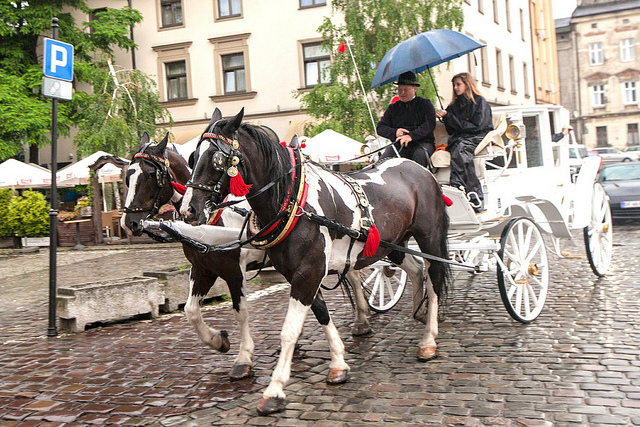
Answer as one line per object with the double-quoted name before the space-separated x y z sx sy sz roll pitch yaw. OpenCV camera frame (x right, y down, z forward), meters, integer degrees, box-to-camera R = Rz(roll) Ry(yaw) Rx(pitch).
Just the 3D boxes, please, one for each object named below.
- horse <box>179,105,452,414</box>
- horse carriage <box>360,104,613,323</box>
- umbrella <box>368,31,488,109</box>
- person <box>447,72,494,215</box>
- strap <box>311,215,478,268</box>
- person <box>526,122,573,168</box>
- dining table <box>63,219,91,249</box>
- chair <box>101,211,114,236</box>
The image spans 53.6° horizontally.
"horse" 0.192 0.356 7.939 1.491 3.426 3.485 7 17 41
"horse carriage" 3.432 -0.239 11.676 3.776 2.783 5.780 -3 -3 28
"umbrella" 1.720 -2.276 10.095 1.304 0.774 1.153 -23 8 -9
"person" 2.307 -1.100 9.765 0.711 2.102 1.098 -1 15 17
"strap" 0.961 0.352 8.370 2.554 0.208 0.120 19 -14 -29
"person" 3.888 -1.103 10.763 0.889 0.700 0.230 3 -10 42
"dining table" -8.276 0.702 21.717 1.236 0.974 1.102 1 1 13
"chair" -7.658 0.362 22.732 0.466 0.928 0.801 -11 15 -22
